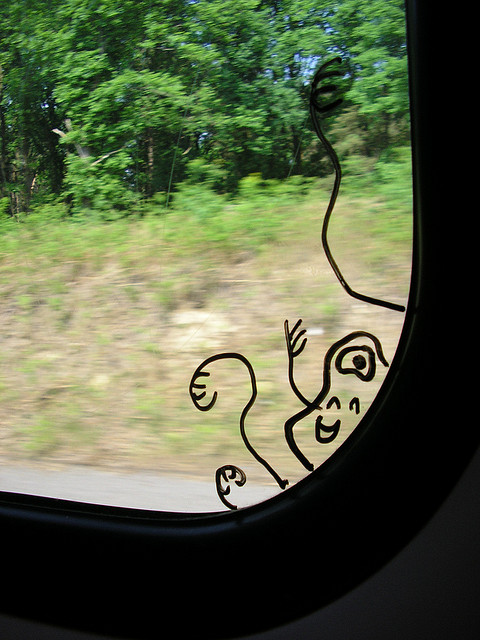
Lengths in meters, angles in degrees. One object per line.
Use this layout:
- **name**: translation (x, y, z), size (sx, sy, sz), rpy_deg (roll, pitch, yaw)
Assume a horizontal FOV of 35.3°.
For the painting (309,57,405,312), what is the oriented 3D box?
- **painting**: translation (0.217, -0.261, 1.439), size (0.168, 0.485, 0.039), rpy_deg (-5, 1, 39)
